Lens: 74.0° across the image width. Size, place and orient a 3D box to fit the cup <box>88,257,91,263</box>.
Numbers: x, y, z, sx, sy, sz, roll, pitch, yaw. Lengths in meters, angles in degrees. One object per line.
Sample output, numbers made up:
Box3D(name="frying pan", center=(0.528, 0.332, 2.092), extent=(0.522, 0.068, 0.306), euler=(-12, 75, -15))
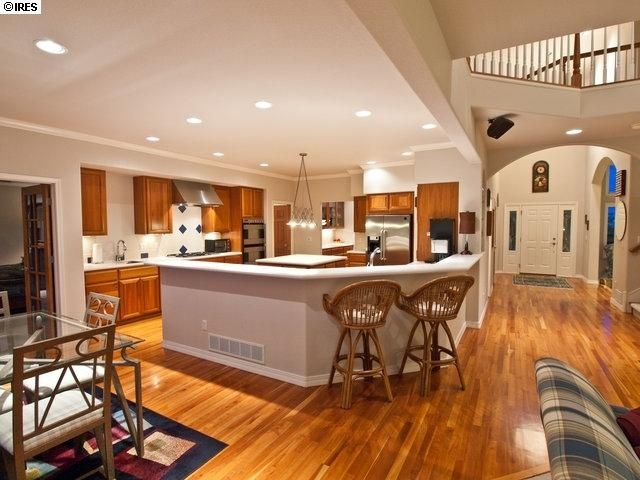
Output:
Box3D(name="cup", center=(-3.371, 0.284, 6.178), extent=(0.056, 0.067, 0.063), euler=(-2, 11, -8))

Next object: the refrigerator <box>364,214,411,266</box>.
Box3D(name="refrigerator", center=(1.170, -0.020, 7.155), extent=(0.784, 1.268, 0.533), euler=(-2, -4, 41))

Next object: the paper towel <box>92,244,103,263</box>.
Box3D(name="paper towel", center=(-3.307, 0.182, 6.265), extent=(0.128, 0.276, 0.172), euler=(-5, 12, -21))

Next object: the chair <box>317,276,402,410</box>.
Box3D(name="chair", center=(0.399, 0.910, 4.060), extent=(0.626, 1.199, 0.610), euler=(-3, 8, -28))

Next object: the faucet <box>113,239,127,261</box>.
Box3D(name="faucet", center=(-3.101, 0.150, 6.584), extent=(0.062, 0.322, 0.228), euler=(6, 13, 31))

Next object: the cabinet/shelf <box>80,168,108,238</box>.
Box3D(name="cabinet/shelf", center=(-3.150, -0.533, 5.891), extent=(0.194, 0.937, 0.438), euler=(8, 14, 38))

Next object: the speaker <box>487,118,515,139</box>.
Box3D(name="speaker", center=(2.054, -1.290, 4.831), extent=(0.217, 0.161, 0.237), euler=(24, -34, -8))

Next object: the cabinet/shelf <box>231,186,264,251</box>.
Box3D(name="cabinet/shelf", center=(-1.442, -0.420, 8.188), extent=(0.619, 1.196, 0.460), euler=(-5, 12, -23))

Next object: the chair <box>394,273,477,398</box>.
Box3D(name="chair", center=(1.126, 0.865, 4.268), extent=(0.681, 1.175, 0.700), euler=(3, 9, 17))

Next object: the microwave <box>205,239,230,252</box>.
Box3D(name="microwave", center=(-1.936, 0.107, 7.955), extent=(0.480, 0.263, 0.302), euler=(-4, 11, -20))

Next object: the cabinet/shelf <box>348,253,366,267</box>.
Box3D(name="cabinet/shelf", center=(0.744, 0.380, 8.567), extent=(0.353, 0.367, 0.258), euler=(-1, -3, 32))

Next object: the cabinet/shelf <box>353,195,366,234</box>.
Box3D(name="cabinet/shelf", center=(0.776, -0.512, 8.449), extent=(0.255, 0.730, 0.159), euler=(2, 11, 15))

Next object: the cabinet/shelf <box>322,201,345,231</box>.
Box3D(name="cabinet/shelf", center=(0.289, -0.604, 10.113), extent=(0.225, 0.687, 0.715), euler=(0, -1, 29))

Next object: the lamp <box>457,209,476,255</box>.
Box3D(name="lamp", center=(1.985, -0.099, 5.732), extent=(0.222, 0.581, 0.365), euler=(3, 11, 20))

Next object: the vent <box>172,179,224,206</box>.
Box3D(name="vent", center=(-2.080, -0.806, 7.233), extent=(0.318, 0.461, 0.888), euler=(7, 13, 33))
